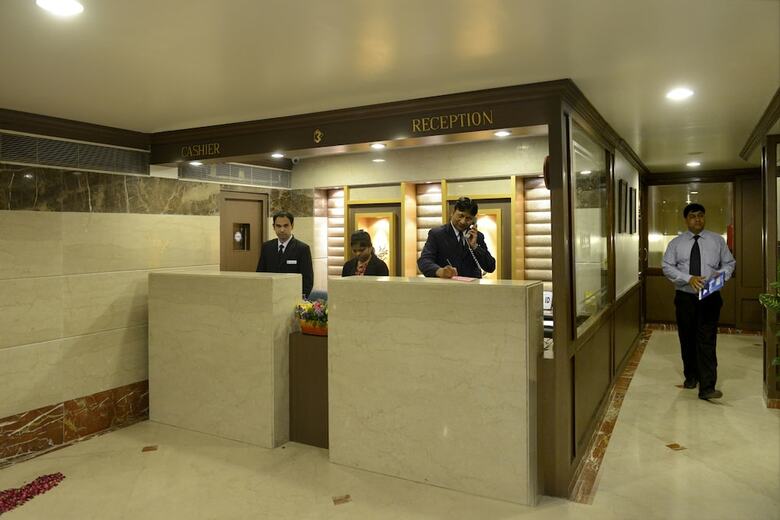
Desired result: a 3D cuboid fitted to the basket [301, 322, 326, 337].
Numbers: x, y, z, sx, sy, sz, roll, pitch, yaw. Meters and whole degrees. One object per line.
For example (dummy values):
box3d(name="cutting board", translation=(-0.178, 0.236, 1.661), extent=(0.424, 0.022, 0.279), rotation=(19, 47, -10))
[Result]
box3d(name="basket", translation=(-0.741, 0.678, 5.091), extent=(0.160, 0.059, 0.150), rotation=(-2, -4, 39))

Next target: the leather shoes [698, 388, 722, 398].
box3d(name="leather shoes", translation=(3.725, 1.562, 6.145), extent=(0.274, 0.119, 0.102), rotation=(-5, -9, 11))

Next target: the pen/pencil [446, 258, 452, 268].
box3d(name="pen/pencil", translation=(0.626, 0.033, 5.546), extent=(0.010, 0.092, 0.011), rotation=(-23, -11, 12))

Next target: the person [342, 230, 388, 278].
box3d(name="person", translation=(-0.299, -0.093, 6.848), extent=(0.711, 0.763, 0.418), rotation=(1, 3, 18))

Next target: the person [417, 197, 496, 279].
box3d(name="person", translation=(0.701, -0.223, 5.537), extent=(0.797, 0.839, 0.366), rotation=(0, 8, 2))

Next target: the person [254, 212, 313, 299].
box3d(name="person", translation=(-1.326, -0.064, 6.689), extent=(0.812, 1.075, 0.370), rotation=(3, 8, 26))

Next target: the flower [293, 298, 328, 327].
box3d(name="flower", translation=(-0.786, 0.516, 5.128), extent=(0.260, 0.147, 0.262), rotation=(-4, -6, 38))

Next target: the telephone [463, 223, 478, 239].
box3d(name="telephone", translation=(0.843, -0.306, 5.507), extent=(0.067, 0.178, 0.146), rotation=(30, -10, -20))

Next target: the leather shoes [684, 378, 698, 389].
box3d(name="leather shoes", translation=(3.721, 1.515, 6.490), extent=(0.120, 0.089, 0.121), rotation=(0, 1, 43))

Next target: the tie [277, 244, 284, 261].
box3d(name="tie", translation=(-1.403, -0.127, 6.686), extent=(0.093, 0.134, 0.032), rotation=(-3, -7, 22))

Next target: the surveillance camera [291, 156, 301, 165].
box3d(name="surveillance camera", translation=(-1.558, -1.594, 8.539), extent=(0.147, 0.106, 0.113), rotation=(1, 8, 12))

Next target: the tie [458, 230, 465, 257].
box3d(name="tie", translation=(0.764, -0.175, 5.606), extent=(0.049, 0.248, 0.064), rotation=(-5, 9, -31))

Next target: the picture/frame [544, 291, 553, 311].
box3d(name="picture/frame", translation=(1.460, 0.375, 4.848), extent=(0.057, 0.149, 0.174), rotation=(3, 9, 23))
